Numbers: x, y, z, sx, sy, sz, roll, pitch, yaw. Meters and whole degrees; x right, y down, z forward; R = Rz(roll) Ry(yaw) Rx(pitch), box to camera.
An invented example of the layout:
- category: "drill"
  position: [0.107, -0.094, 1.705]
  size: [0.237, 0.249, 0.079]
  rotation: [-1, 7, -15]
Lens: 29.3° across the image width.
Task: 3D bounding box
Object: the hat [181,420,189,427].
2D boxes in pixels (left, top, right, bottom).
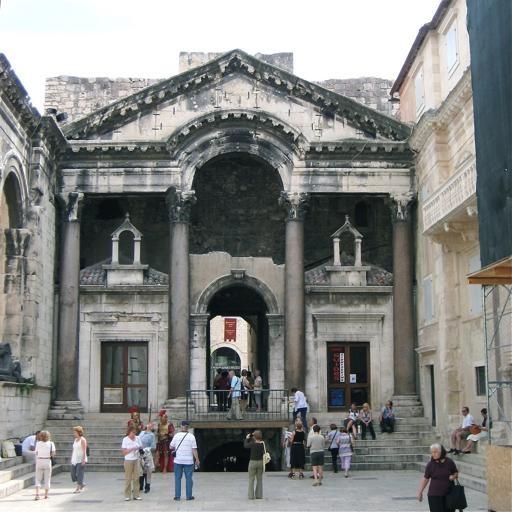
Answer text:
- category: "hat"
  position: [-1.784, 4.158, 24.215]
  size: [0.152, 0.141, 0.229]
  rotation: [2, 1, 0]

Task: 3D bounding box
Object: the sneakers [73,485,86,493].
- category: "sneakers"
  position: [-4.626, 5.986, 25.312]
  size: [0.134, 0.194, 0.393]
  rotation: [2, 0, -37]

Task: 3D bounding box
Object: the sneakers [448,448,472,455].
- category: "sneakers"
  position: [5.864, 5.586, 28.255]
  size: [0.539, 0.262, 0.203]
  rotation: [4, -6, 10]

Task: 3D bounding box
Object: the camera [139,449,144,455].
- category: "camera"
  position: [-2.841, 4.778, 24.045]
  size: [0.093, 0.150, 0.243]
  rotation: [-1, -14, 2]
